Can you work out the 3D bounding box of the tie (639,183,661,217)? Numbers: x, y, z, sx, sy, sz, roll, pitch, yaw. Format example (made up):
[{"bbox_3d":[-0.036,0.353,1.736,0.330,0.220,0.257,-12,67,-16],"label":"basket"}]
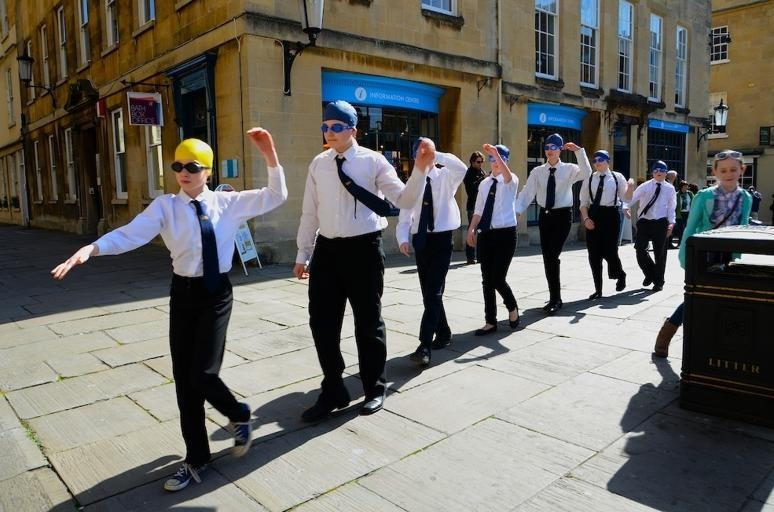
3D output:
[{"bbox_3d":[4.549,-0.974,10.145,0.052,0.580,0.135,21,12,23],"label":"tie"}]

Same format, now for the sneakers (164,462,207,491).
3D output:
[{"bbox_3d":[-1.652,1.814,4.909,0.131,0.164,0.395,7,5,40],"label":"sneakers"}]

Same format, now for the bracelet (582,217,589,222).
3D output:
[{"bbox_3d":[3.100,-0.594,9.183,0.095,0.049,0.119,1,6,20],"label":"bracelet"}]

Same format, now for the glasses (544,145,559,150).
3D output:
[{"bbox_3d":[2.358,-1.576,8.416,0.194,0.076,0.123,6,11,28],"label":"glasses"}]

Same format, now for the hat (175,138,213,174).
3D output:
[{"bbox_3d":[-1.601,-0.870,5.041,0.271,0.233,0.289,12,13,22],"label":"hat"}]

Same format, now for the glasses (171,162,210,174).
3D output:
[{"bbox_3d":[-1.631,-0.751,4.955,0.311,0.095,0.119,-2,10,-17],"label":"glasses"}]

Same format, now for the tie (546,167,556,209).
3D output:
[{"bbox_3d":[2.356,-0.989,8.430,0.124,0.597,0.221,3,9,15],"label":"tie"}]

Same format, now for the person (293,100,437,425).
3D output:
[{"bbox_3d":[-0.298,0.012,5.716,1.229,2.975,0.708,1,9,3],"label":"person"}]

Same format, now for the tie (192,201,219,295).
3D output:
[{"bbox_3d":[-1.497,-0.102,4.944,0.174,0.734,0.258,-4,10,-26],"label":"tie"}]

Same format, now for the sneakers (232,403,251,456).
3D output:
[{"bbox_3d":[-1.234,1.510,5.159,0.159,0.461,0.188,-2,2,33],"label":"sneakers"}]

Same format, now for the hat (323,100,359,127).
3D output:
[{"bbox_3d":[-0.397,-1.405,5.680,0.253,0.219,0.341,18,3,32],"label":"hat"}]

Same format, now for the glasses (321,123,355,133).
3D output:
[{"bbox_3d":[-0.450,-1.228,5.605,0.301,0.107,0.115,0,9,-3],"label":"glasses"}]
